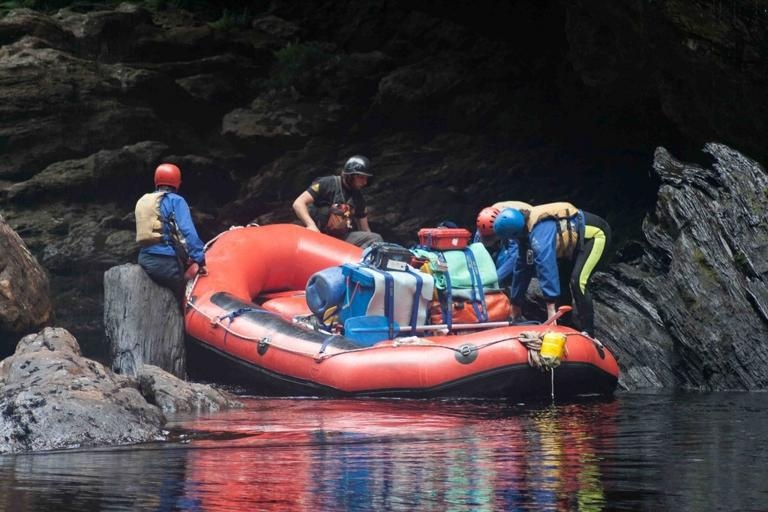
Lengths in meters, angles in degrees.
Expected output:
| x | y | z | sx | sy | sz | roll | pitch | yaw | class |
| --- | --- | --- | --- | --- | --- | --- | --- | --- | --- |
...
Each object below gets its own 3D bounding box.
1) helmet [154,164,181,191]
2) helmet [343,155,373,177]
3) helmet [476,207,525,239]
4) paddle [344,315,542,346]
| x | y | z | sx | sy | sz | roll | pitch | yaw | class |
| --- | --- | --- | --- | --- | --- | --- | --- | --- | --- |
| -3.225 | -1.176 | 18.219 | 0.429 | 0.435 | 0.503 | 6 | 10 | 4 | helmet |
| -0.397 | -1.408 | 19.364 | 0.416 | 0.223 | 0.305 | 19 | 13 | 22 | helmet |
| 1.690 | -0.475 | 18.060 | 0.602 | 0.415 | 0.384 | -35 | -6 | 35 | helmet |
| 0.668 | 1.024 | 17.341 | 3.143 | 0.143 | 0.820 | 0 | 29 | -4 | paddle |
